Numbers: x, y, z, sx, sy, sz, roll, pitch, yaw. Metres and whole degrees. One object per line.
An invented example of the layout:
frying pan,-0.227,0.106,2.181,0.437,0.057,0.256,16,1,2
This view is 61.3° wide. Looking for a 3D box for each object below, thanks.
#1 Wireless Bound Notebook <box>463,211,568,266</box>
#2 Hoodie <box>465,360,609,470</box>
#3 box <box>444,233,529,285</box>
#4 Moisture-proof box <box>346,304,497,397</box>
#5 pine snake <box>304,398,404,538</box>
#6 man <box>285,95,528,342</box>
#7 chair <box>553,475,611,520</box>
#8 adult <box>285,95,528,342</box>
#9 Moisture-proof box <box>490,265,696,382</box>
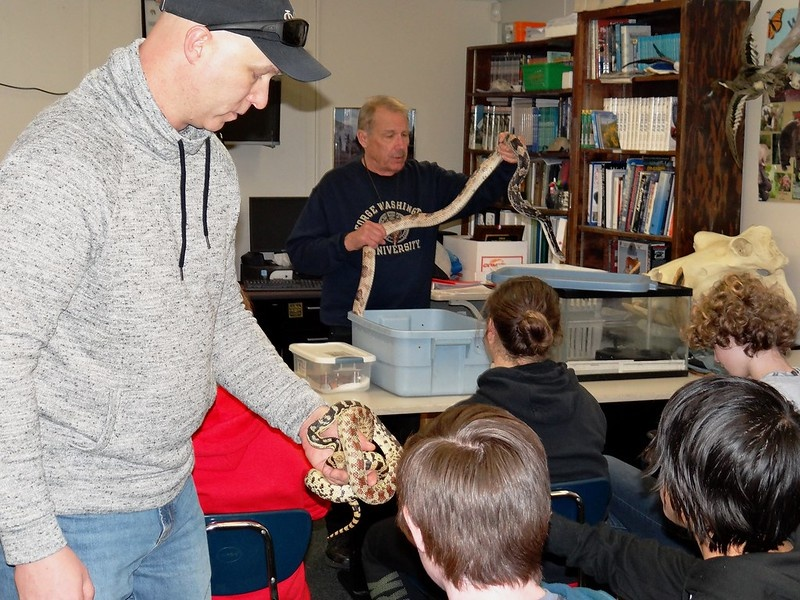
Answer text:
Wireless Bound Notebook,1.053,-0.653,6.448,0.731,0.450,0.722,-2,9,-28
Hoodie,0.607,0.456,2.651,0.385,0.204,0.525,-6,36,-9
box,0.733,-0.374,5.843,0.450,0.282,0.458,4,8,30
Moisture-proof box,0.037,0.252,3.593,0.425,0.242,0.624,-3,14,-25
pine snake,-0.124,0.406,1.934,0.090,0.275,0.406,31,16,-50
man,-0.013,-0.372,4.367,1.372,1.677,0.892,-2,17,-9
chair,0.679,0.751,2.564,0.149,0.231,0.138,-3,15,-16
adult,-0.019,-0.380,4.408,1.382,1.705,0.864,-3,18,-16
Moisture-proof box,1.149,-0.059,3.747,0.673,0.475,0.917,-4,10,-33
